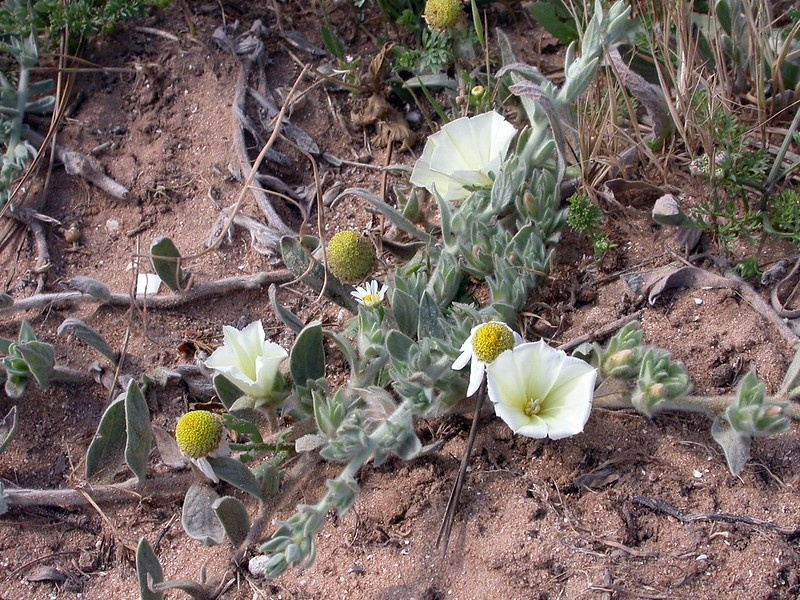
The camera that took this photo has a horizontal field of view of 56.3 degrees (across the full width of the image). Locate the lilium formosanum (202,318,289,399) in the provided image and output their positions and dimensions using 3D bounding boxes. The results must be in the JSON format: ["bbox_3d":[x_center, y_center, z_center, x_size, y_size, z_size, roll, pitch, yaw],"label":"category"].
[{"bbox_3d":[-0.454,0.183,2.267,0.203,0.203,0.264,-23,63,22],"label":"lilium formosanum"}]

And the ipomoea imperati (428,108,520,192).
[{"bbox_3d":[0.228,-0.513,2.447,0.246,0.291,0.215,-4,19,-2],"label":"ipomoea imperati"}]

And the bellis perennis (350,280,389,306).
[{"bbox_3d":[-0.085,-0.008,2.416,0.088,0.044,0.099,16,54,32],"label":"bellis perennis"}]
